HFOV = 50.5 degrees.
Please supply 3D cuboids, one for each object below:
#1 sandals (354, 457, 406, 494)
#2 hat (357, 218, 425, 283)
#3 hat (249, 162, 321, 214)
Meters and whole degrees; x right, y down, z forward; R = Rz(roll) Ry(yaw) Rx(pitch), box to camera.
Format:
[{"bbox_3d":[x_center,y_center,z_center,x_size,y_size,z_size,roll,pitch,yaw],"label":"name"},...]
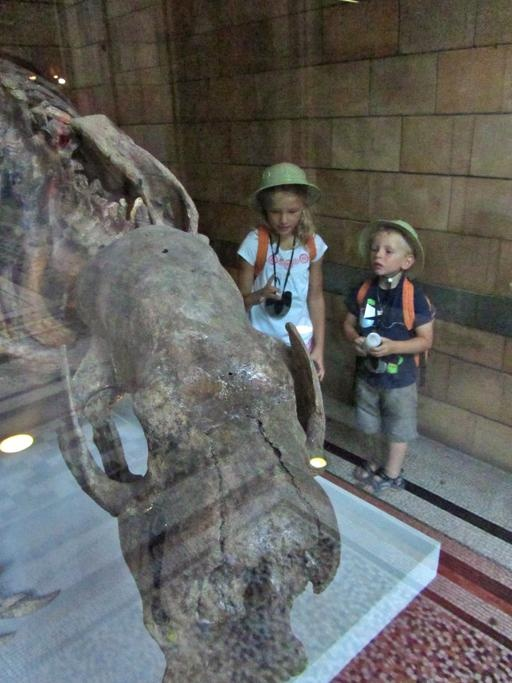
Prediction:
[{"bbox_3d":[0.440,0.506,2.006,0.143,0.043,0.082,15,65,36],"label":"sandals"},{"bbox_3d":[0.389,-0.267,1.580,0.164,0.067,0.173,-6,45,-4],"label":"hat"},{"bbox_3d":[0.090,-0.434,1.565,0.150,0.061,0.145,-11,10,-19],"label":"hat"}]
